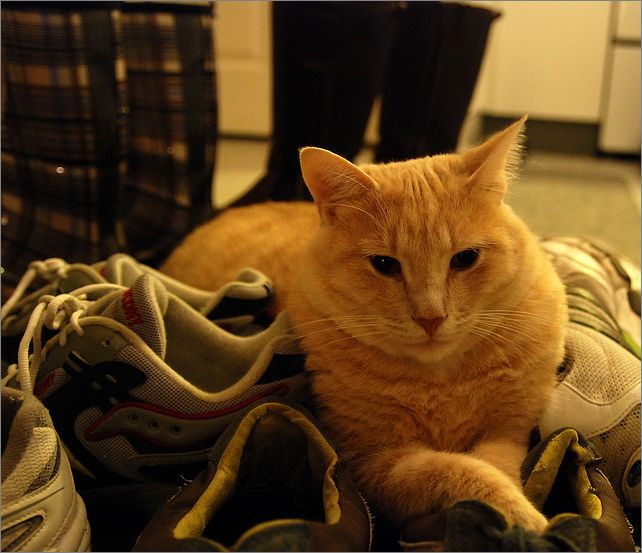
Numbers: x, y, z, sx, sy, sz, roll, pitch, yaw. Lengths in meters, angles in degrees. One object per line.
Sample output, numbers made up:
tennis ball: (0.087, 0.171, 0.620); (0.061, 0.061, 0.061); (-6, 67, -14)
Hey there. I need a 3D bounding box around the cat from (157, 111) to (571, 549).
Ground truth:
cat: (0.090, 0.043, 1.144); (0.460, 0.478, 0.889); (7, 9, -24)
